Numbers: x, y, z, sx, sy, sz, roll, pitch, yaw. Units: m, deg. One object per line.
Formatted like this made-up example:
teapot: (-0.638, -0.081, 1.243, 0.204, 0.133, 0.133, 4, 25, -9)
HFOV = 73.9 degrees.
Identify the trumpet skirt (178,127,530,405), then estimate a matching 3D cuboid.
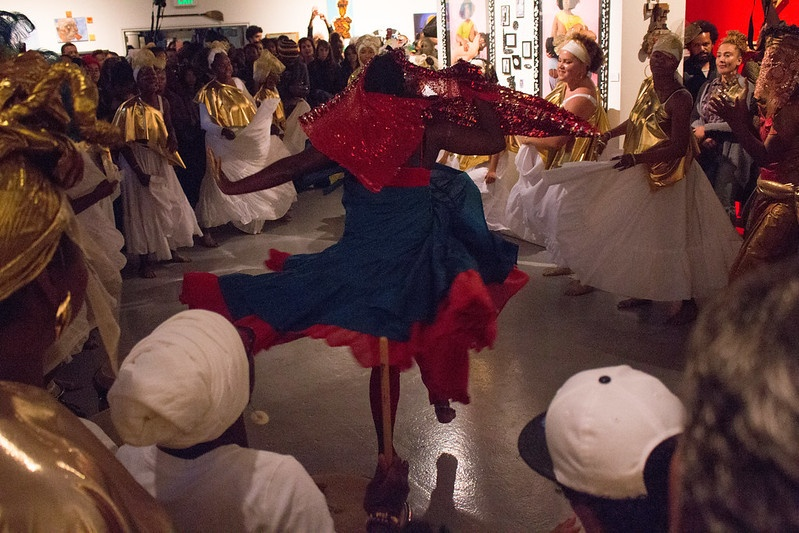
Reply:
trumpet skirt: (-0.086, 0.060, 2.478, 0.965, 1.168, 1.176, 24, 35, 29)

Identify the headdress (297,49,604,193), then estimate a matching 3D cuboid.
headdress: (0.329, -0.661, 2.219, 1.238, 0.435, 1.020, 5, 18, 32)

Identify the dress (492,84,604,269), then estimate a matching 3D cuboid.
dress: (1.447, -1.026, 4.804, 0.737, 1.908, 0.816, -12, 33, -15)

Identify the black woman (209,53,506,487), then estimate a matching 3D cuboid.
black woman: (-0.142, -0.065, 2.298, 1.398, 1.614, 0.866, -3, 10, -4)

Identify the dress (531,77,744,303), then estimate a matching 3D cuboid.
dress: (1.921, -0.621, 4.273, 1.095, 1.595, 1.544, 4, 7, 15)
